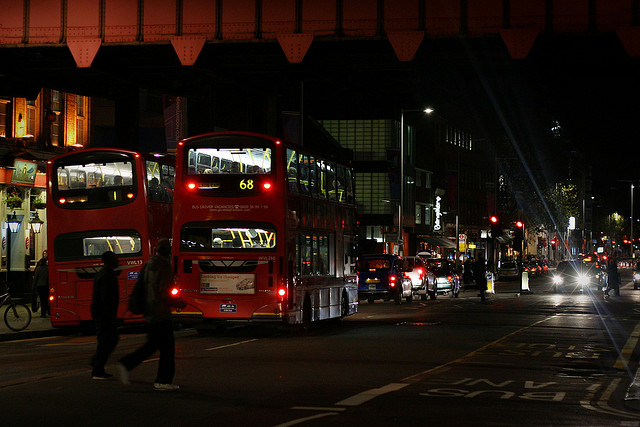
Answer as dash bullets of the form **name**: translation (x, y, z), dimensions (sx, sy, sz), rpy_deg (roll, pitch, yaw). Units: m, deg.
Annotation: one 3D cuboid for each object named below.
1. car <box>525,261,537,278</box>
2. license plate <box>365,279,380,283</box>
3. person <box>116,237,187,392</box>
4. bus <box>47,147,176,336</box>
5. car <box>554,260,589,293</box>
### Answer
- **car**: translation (24.876, 6.546, 82.638), dimensions (0.917, 1.502, 3.426), rpy_deg (-1, -7, 24)
- **license plate**: translation (2.641, 3.374, 35.403), dimensions (0.725, 0.164, 0.047), rpy_deg (1, -5, 1)
- **person**: translation (-2.821, 1.681, 12.465), dimensions (1.282, 2.663, 1.095), rpy_deg (0, 0, 10)
- **bus**: translation (-6.792, 0.761, 22.151), dimensions (3.534, 5.513, 1.288), rpy_deg (0, -5, 11)
- **car**: translation (18.100, 4.507, 50.518), dimensions (2.820, 2.204, 0.928), rpy_deg (5, -7, -31)
